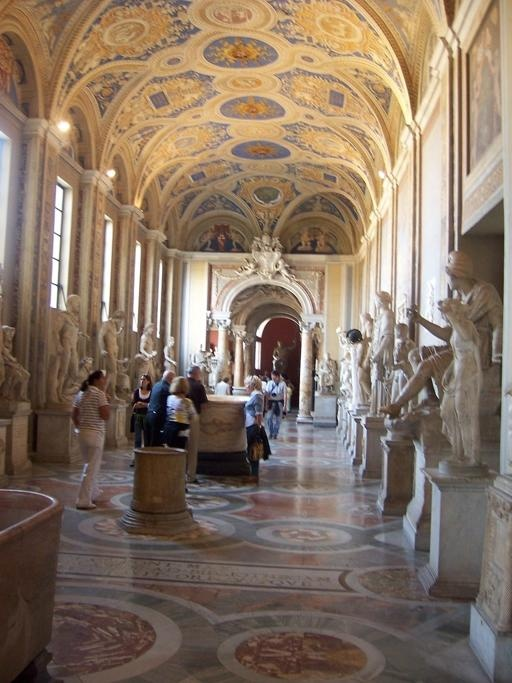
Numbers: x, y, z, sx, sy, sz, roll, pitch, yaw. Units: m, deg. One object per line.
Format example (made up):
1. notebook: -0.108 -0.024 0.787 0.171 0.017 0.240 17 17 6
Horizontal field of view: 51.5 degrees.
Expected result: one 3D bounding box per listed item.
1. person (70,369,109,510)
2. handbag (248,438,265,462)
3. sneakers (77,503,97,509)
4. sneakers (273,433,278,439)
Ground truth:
1. person: -1.900 1.145 6.143 0.404 1.598 0.314 2 -7 -6
2. handbag: 0.027 1.868 9.217 0.293 0.528 0.503 0 -4 6
3. sneakers: -1.966 1.921 6.175 0.164 0.066 0.087 0 -4 -8
4. sneakers: 0.557 2.720 15.207 0.131 0.128 0.119 0 4 3
